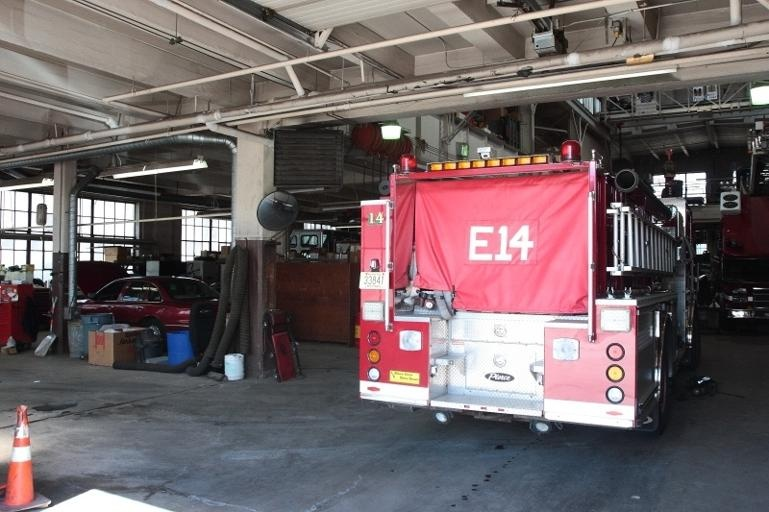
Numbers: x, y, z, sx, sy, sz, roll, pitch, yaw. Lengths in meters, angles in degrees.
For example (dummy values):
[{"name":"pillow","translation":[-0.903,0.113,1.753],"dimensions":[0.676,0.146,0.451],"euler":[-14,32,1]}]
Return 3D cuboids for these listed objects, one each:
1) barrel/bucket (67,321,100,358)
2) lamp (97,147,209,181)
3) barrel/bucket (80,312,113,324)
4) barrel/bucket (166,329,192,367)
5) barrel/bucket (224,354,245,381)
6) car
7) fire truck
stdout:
[{"name":"barrel/bucket","translation":[-7.432,2.013,15.681],"dimensions":[0.740,0.900,0.486],"euler":[1,5,9]},{"name":"lamp","translation":[-5.663,-2.234,16.026],"dimensions":[1.410,0.355,4.480],"euler":[-4,7,-38]},{"name":"barrel/bucket","translation":[-7.208,1.557,15.998],"dimensions":[0.515,0.208,0.343],"euler":[-4,-5,28]},{"name":"barrel/bucket","translation":[-4.480,2.073,14.356],"dimensions":[0.674,0.713,0.656],"euler":[-1,0,0]},{"name":"barrel/bucket","translation":[-3.026,2.218,12.967],"dimensions":[0.533,0.499,0.453],"euler":[1,-6,-17]},{"name":"car","translation":[-6.037,1.242,16.417],"dimensions":[3.234,1.424,1.284],"euler":[2,6,21]},{"name":"fire truck","translation":[2.806,0.461,10.591],"dimensions":[2.958,2.712,5.382],"euler":[0,1,29]}]
